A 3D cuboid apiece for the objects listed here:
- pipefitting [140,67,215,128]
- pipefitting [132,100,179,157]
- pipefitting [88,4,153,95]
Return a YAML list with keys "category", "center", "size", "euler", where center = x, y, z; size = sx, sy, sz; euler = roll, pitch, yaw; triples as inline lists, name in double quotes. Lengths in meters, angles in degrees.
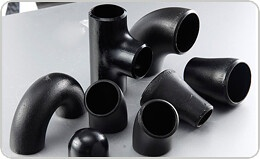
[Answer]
- category: "pipefitting"
  center: [0.193, 0.047, 0.765]
  size: [0.159, 0.095, 0.222]
  euler: [-36, 48, -21]
- category: "pipefitting"
  center: [0.071, 0.135, 0.725]
  size: [0.138, 0.167, 0.158]
  euler: [0, 52, 1]
- category: "pipefitting"
  center: [-0.034, -0.090, 0.804]
  size: [0.232, 0.319, 0.127]
  euler: [22, 31, 29]
